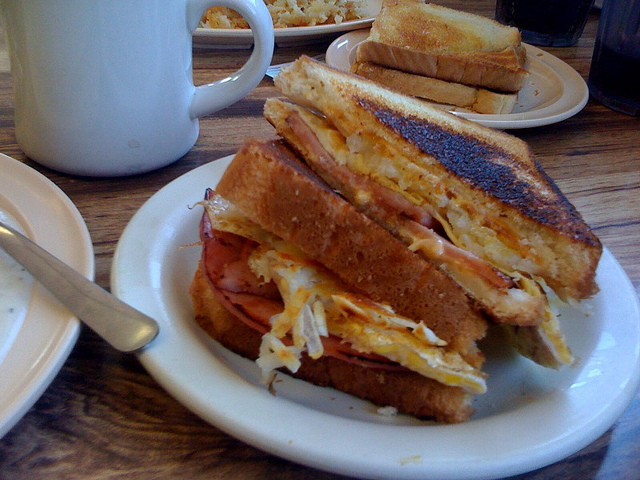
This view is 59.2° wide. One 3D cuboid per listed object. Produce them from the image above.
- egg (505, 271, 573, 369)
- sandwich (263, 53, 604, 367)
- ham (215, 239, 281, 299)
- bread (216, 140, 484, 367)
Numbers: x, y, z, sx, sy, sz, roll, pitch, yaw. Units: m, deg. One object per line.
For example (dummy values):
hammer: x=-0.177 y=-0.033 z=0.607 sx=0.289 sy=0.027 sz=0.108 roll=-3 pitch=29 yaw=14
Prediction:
egg: x=0.363 y=0.134 z=0.933 sx=0.108 sy=0.125 sz=0.160 roll=9 pitch=43 yaw=2
sandwich: x=0.412 y=-0.176 z=1.195 sx=0.606 sy=0.481 sz=0.867 roll=-17 pitch=25 yaw=-40
ham: x=-0.136 y=0.040 z=1.004 sx=0.111 sy=0.077 sz=0.151 roll=-8 pitch=19 yaw=-33
bread: x=0.043 y=0.004 z=1.033 sx=0.398 sy=0.104 sz=0.389 roll=35 pitch=3 yaw=-8
